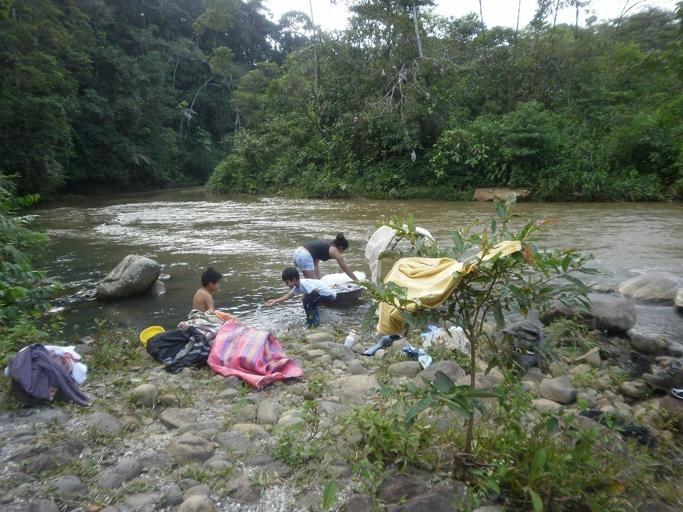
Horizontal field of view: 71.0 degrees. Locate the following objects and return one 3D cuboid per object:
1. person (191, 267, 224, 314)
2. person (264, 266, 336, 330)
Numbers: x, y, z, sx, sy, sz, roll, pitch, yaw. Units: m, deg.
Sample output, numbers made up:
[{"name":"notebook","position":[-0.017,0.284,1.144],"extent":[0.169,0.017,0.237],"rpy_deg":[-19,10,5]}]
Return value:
[{"name":"person","position":[-2.016,0.538,7.184],"extent":[0.500,0.832,0.457],"rpy_deg":[12,14,42]},{"name":"person","position":[-0.557,0.541,7.391],"extent":[0.607,0.766,0.938],"rpy_deg":[-12,17,-43]}]
